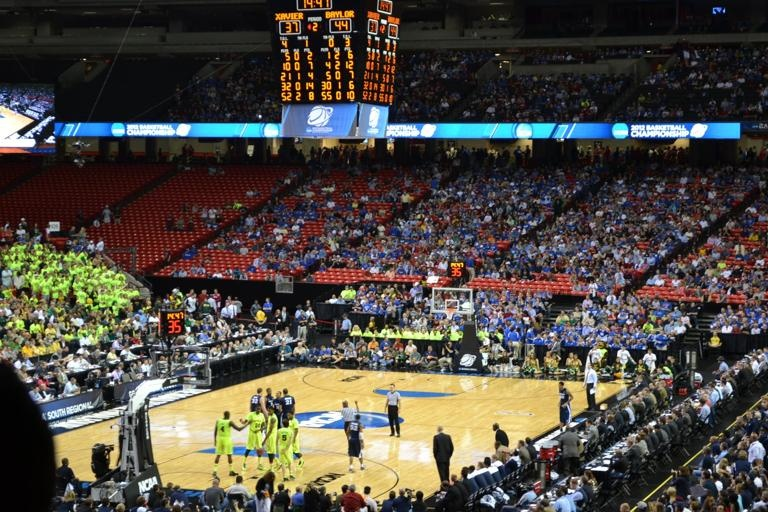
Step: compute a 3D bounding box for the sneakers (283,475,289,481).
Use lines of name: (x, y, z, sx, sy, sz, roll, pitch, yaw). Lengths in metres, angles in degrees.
sneakers: (-3.458, 7.839, 38.052, 0.166, 0.129, 0.168, -1, 8, -8)

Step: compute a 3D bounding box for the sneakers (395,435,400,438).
sneakers: (0.568, 6.937, 41.630, 0.186, 0.073, 0.211, -2, 16, -9)
